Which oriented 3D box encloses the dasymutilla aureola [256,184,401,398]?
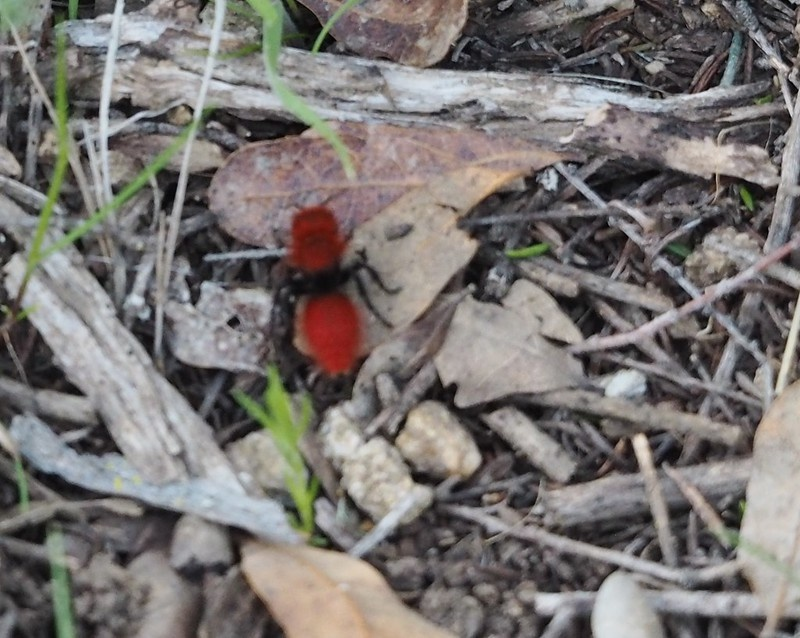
[{"bbox_3d":[-0.177,-0.054,1.736,0.314,0.085,0.373,-6,88,1],"label":"dasymutilla aureola"}]
